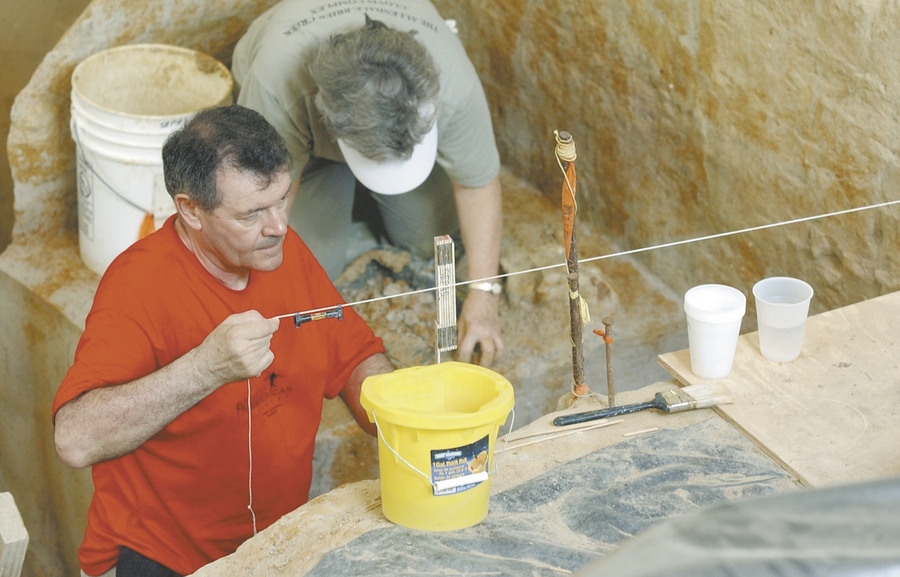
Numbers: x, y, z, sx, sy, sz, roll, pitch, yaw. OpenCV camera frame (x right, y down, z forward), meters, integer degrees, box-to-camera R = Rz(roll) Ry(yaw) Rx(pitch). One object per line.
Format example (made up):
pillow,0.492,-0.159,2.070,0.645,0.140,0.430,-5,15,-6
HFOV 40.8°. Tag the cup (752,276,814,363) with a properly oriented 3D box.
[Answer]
cup,1.525,0.130,5.562,0.250,0.306,0.274,-4,28,2
